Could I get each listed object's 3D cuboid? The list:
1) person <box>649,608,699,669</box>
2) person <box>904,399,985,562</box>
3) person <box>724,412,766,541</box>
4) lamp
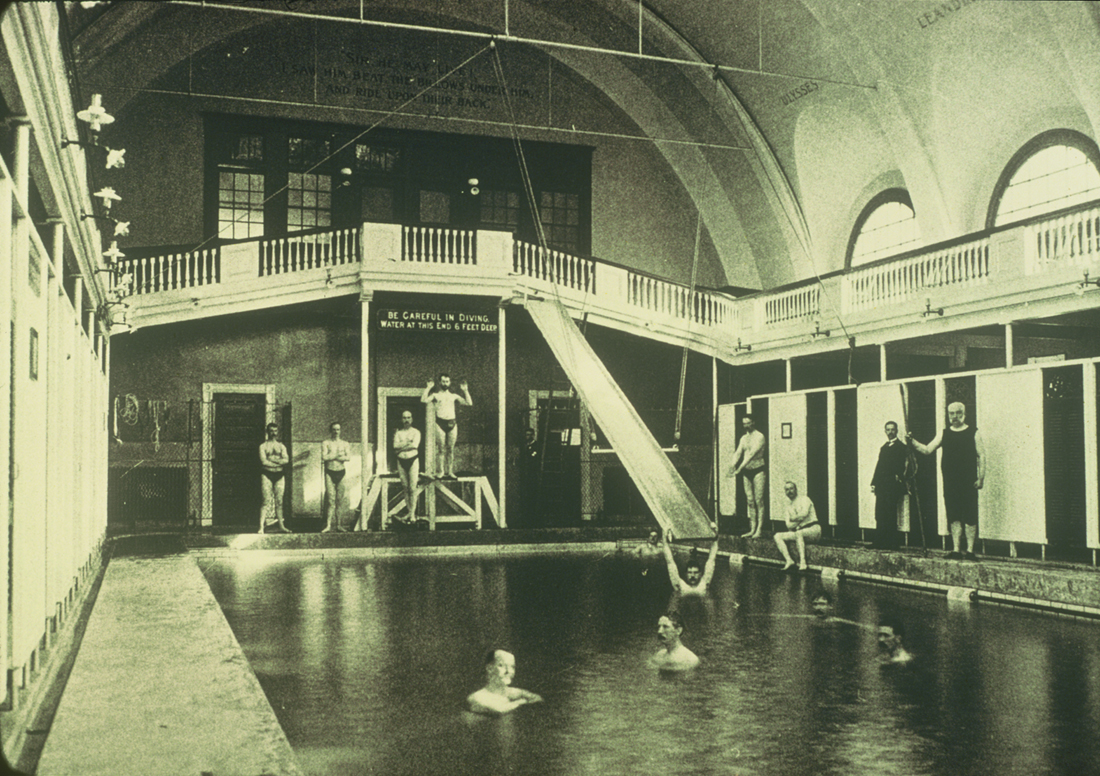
[{"bbox_3d":[1.582,3.364,20.766,0.722,0.710,0.536,-13,-29,40],"label":"person"},{"bbox_3d":[6.602,1.448,25.952,0.285,2.368,1.008,3,-4,-35],"label":"person"},{"bbox_3d":[3.708,1.583,29.278,0.431,2.227,0.954,2,-3,-13],"label":"person"},{"bbox_3d":[-7.608,-2.926,27.201,0.904,5.269,1.264,-1,-1,-8],"label":"lamp"}]
